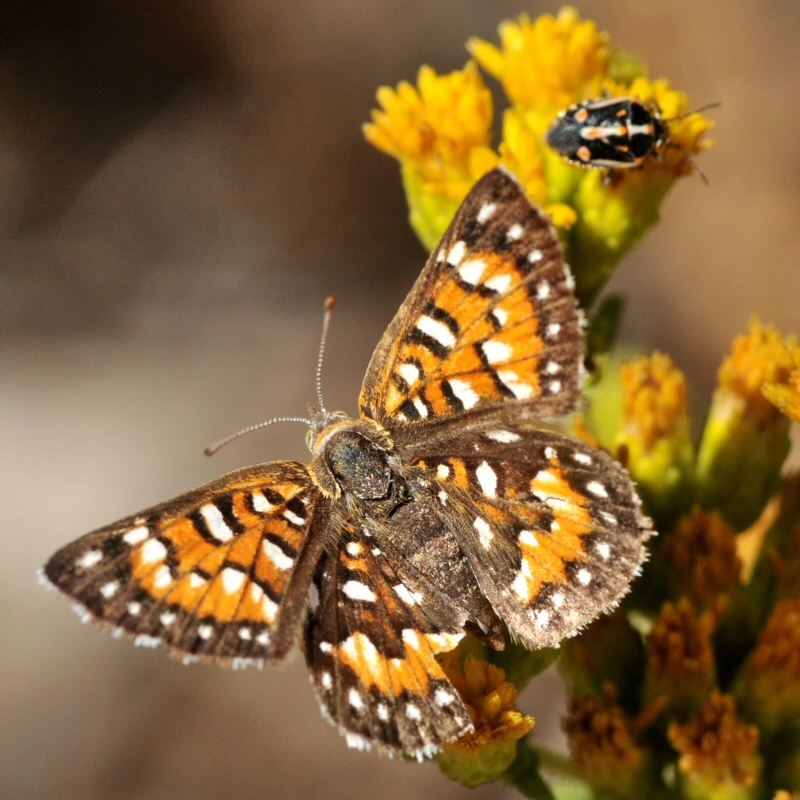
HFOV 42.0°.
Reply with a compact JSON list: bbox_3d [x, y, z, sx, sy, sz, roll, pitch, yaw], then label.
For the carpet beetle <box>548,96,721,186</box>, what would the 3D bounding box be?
[{"bbox_3d":[0.502,-0.554,2.171,0.172,0.281,0.075,5,-58,-51],"label":"carpet beetle"}]
